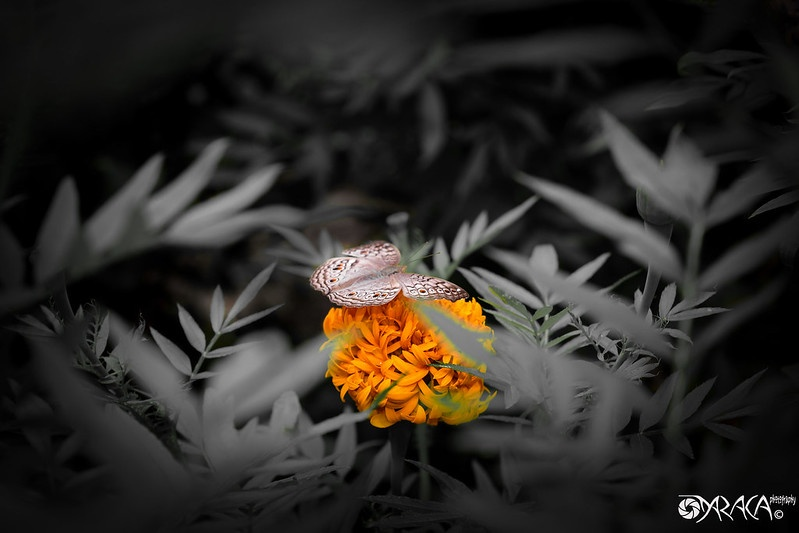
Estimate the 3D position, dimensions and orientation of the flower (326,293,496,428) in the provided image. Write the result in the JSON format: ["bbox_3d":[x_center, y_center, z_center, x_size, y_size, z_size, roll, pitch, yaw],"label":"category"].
[{"bbox_3d":[0.013,0.088,0.818,0.158,0.160,0.136,8,-70,-5],"label":"flower"}]
